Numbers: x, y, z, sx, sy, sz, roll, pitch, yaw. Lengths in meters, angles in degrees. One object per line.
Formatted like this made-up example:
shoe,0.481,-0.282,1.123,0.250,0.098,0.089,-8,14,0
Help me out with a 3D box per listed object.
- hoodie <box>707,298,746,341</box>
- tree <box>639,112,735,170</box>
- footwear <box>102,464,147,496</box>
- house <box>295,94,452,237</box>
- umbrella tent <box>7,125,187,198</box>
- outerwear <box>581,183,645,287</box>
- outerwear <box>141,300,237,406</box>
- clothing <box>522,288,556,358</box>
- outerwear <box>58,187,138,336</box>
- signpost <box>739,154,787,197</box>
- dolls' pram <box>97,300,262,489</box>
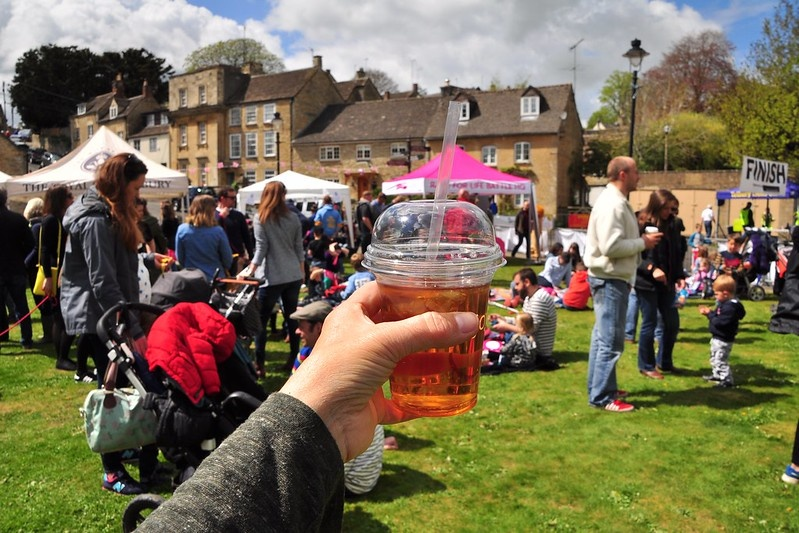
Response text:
hoodie,5.683,0.922,13.141,0.633,0.781,0.658,1,7,15
tree,17.935,-7.667,47.661,3.989,3.112,4.361,-4,7,-20
footwear,-3.781,2.913,10.386,0.665,0.298,0.265,5,2,6
house,-1.226,-7.916,50.833,10.043,6.246,5.826,3,9,30
umbrella tent,-6.895,-2.252,17.689,3.373,1.722,3.344,-1,1,-33
outerwear,3.507,-0.488,12.183,0.970,1.555,1.316,5,8,13
outerwear,-2.708,1.124,9.861,1.101,1.244,0.510,1,3,-18
clothing,2.565,0.985,14.209,0.742,1.213,1.361,-2,9,5
outerwear,-4.291,-0.086,10.803,1.038,1.911,1.765,-1,9,-21
signpost,8.241,-2.007,17.066,0.023,0.793,1.332,-7,15,-19
dolls' pram,-2.987,1.930,10.506,2.832,2.680,1.966,6,-1,-13
